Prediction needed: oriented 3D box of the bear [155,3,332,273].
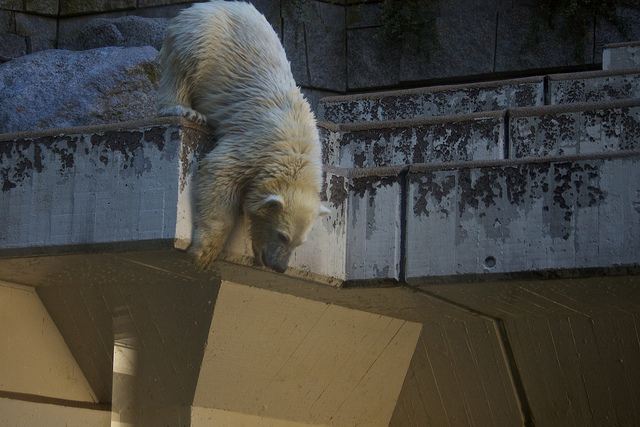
[{"bbox_3d":[-0.473,-0.601,11.292,1.307,2.301,0.975,-16,-15,17],"label":"bear"}]
